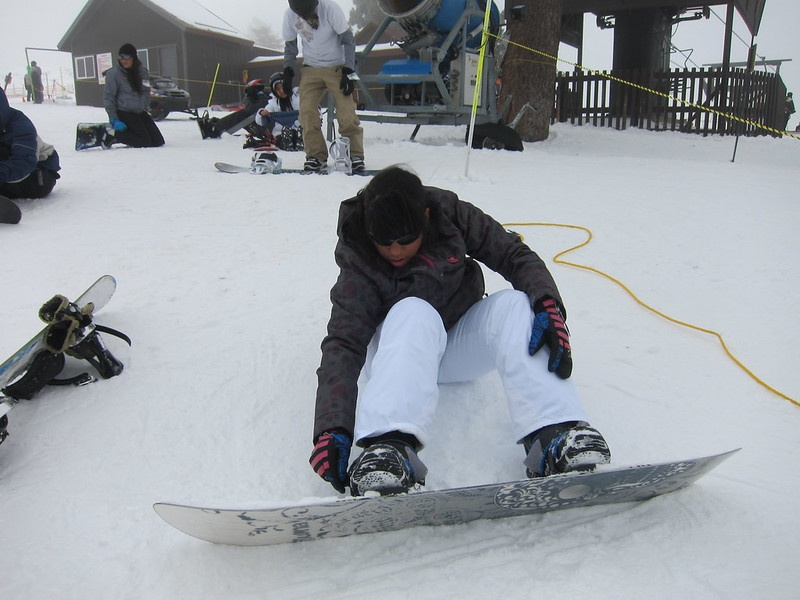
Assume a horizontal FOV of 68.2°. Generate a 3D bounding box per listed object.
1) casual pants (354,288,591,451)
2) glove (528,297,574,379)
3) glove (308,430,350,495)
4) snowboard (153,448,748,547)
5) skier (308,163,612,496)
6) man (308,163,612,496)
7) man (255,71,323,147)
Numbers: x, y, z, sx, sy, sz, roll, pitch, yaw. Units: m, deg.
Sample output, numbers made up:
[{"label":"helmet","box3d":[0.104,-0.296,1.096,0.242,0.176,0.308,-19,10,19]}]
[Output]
[{"label":"casual pants","box3d":[0.219,0.204,2.129,0.762,0.426,0.509,-1,18,-6]},{"label":"glove","box3d":[0.496,0.141,2.096,0.075,0.172,0.259,-21,55,20]},{"label":"glove","box3d":[-0.228,0.532,1.931,0.117,0.205,0.083,10,-21,-34]},{"label":"snowboard","box3d":[0.186,0.660,1.959,1.717,0.265,0.122,-3,42,-5]},{"label":"skier","box3d":[0.107,0.023,2.279,0.966,0.982,1.547,-9,16,-2]},{"label":"man","box3d":[0.134,-0.011,2.392,0.857,0.830,1.302,-13,22,-1]},{"label":"man","box3d":[-1.496,-2.425,7.641,0.733,0.910,1.490,-9,21,-5]}]
